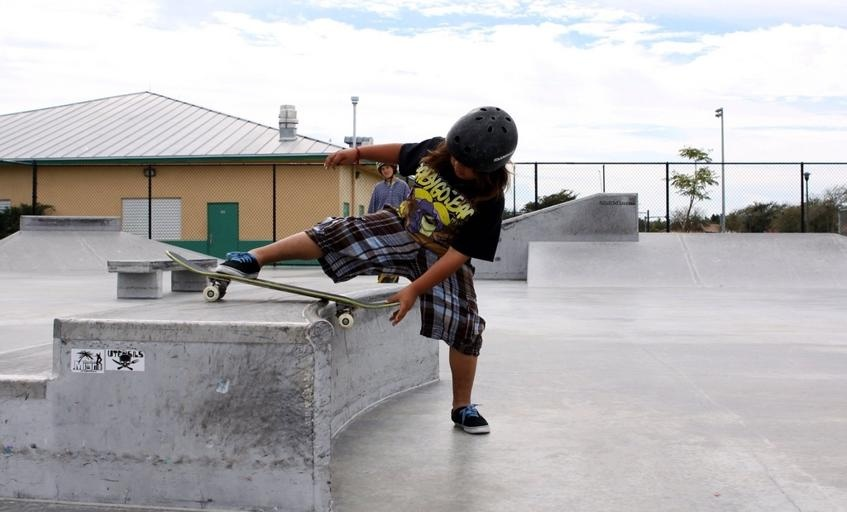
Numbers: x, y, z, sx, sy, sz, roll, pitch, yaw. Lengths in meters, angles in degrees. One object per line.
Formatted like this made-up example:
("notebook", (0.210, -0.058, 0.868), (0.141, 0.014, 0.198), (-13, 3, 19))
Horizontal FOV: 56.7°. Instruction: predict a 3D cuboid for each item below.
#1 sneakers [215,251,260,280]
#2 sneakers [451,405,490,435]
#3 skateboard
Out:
("sneakers", (-1.177, 0.065, 5.156), (0.308, 0.121, 0.138), (16, -1, -29))
("sneakers", (0.306, 1.063, 5.047), (0.301, 0.114, 0.114), (0, 3, 44))
("skateboard", (-1.064, 0.249, 5.822), (1.367, 0.209, 0.332), (13, 2, 0))
